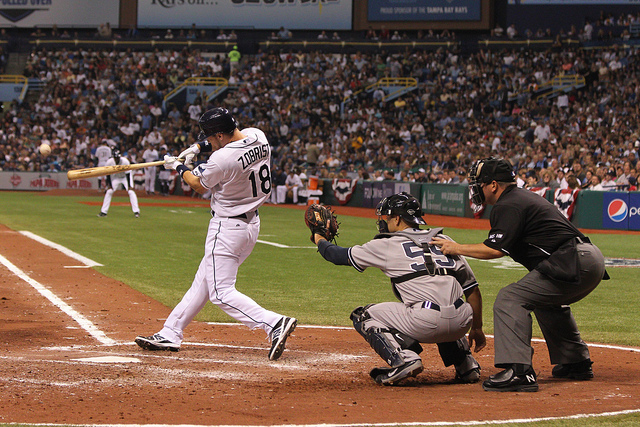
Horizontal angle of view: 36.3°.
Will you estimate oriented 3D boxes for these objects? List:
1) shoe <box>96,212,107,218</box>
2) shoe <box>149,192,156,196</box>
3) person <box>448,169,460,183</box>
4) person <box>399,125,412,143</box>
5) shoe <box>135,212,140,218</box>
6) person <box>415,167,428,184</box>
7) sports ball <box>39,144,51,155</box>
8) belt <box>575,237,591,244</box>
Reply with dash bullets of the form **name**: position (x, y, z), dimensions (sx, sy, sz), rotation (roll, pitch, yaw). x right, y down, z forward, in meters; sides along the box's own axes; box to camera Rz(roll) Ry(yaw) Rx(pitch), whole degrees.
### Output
- **shoe**: position (-7.851, 0.025, 35.068), dimensions (0.355, 0.223, 0.132), rotation (5, 4, -34)
- **shoe**: position (-8.074, -0.944, 46.815), dimensions (0.298, 0.061, 1.172), rotation (2, 8, -10)
- **person**: position (5.347, -1.503, 39.271), dimensions (0.560, 0.727, 0.289), rotation (-8, -16, 43)
- **person**: position (4.102, -3.771, 46.602), dimensions (0.509, 0.748, 0.551), rotation (9, 10, 32)
- **shoe**: position (-6.644, 0.027, 35.259), dimensions (0.208, 0.218, 0.577), rotation (-1, -2, -11)
- **person**: position (4.162, -1.535, 40.516), dimensions (0.518, 0.467, 1.499), rotation (4, 8, 5)
- **sports ball**: position (-7.916, -1.839, 27.779), dimensions (0.312, 0.324, 0.297), rotation (4, -19, 1)
- **belt**: position (5.556, 0.537, 20.687), dimensions (0.217, 0.205, 0.159), rotation (-8, 19, -31)
